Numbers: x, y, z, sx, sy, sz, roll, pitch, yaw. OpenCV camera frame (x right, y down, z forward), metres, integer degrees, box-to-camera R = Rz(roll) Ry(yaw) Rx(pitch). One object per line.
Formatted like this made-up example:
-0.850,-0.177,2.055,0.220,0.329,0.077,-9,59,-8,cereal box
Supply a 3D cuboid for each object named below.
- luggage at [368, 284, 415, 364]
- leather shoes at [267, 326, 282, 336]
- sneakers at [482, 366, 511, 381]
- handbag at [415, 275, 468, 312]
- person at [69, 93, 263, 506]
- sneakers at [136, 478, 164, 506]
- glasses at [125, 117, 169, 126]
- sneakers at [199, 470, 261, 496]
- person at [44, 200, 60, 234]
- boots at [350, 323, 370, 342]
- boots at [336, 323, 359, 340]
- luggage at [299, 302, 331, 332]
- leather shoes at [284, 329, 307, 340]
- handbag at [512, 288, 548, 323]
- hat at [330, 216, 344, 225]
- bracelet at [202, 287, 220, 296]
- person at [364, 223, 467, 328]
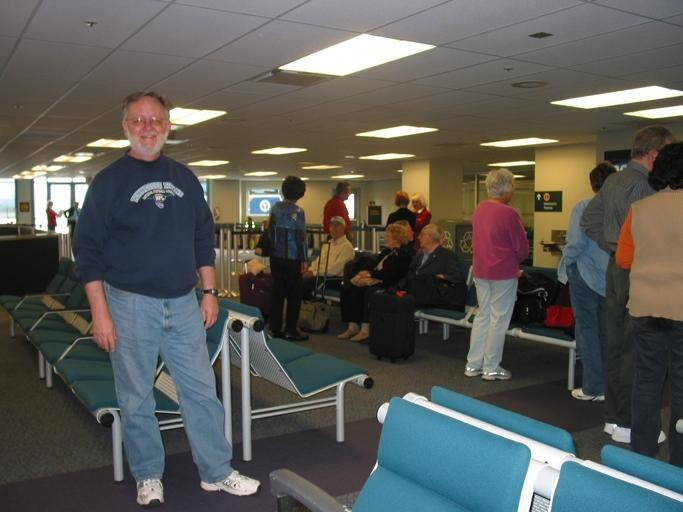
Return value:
0.553,0.762,5.939,0.379,0.700,0.421,0,0,-41,luggage
-0.838,0.942,6.648,0.098,0.121,0.182,0,4,-29,leather shoes
1.505,1.143,5.247,0.285,0.131,0.118,-3,5,-17,sneakers
1.151,0.429,6.218,0.497,0.215,0.406,3,-2,-31,handbag
-0.999,0.256,2.920,0.819,2.273,0.316,-2,5,-26,person
-1.069,1.305,2.981,0.096,0.085,0.200,4,-12,-24,sneakers
-1.039,-0.703,2.834,0.180,0.054,0.062,-2,6,-24,glasses
-0.635,1.284,3.123,0.350,0.173,0.140,-2,-2,3,sneakers
-13.180,-1.777,24.245,0.357,1.372,1.595,-3,6,-26,person
0.182,0.951,6.619,0.335,0.238,0.138,-3,1,-7,boots
0.099,0.950,6.882,0.126,0.157,0.373,-5,-1,41,boots
-0.367,0.806,7.077,0.474,0.353,0.424,8,3,43,luggage
-0.561,0.983,6.686,0.322,0.137,0.113,-1,3,-18,leather shoes
1.935,0.505,5.468,0.347,0.371,0.304,0,-1,-7,handbag
-0.060,-0.493,7.400,0.139,0.093,0.219,2,5,18,hat
-0.766,0.208,3.091,0.076,0.047,0.076,-4,-9,34,bracelet
1.029,0.319,6.979,1.055,1.671,1.318,5,-8,-29,person
